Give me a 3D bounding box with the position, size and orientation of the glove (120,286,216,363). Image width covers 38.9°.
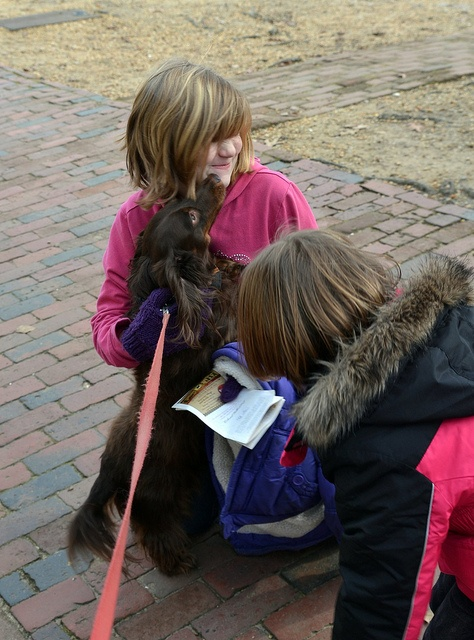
[{"bbox_3d":[-0.271,0.015,2.351,0.245,0.296,0.113,13,48,-33],"label":"glove"}]

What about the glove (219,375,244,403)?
[{"bbox_3d":[-0.023,0.241,2.313,0.038,0.060,0.097,41,49,-14],"label":"glove"}]
